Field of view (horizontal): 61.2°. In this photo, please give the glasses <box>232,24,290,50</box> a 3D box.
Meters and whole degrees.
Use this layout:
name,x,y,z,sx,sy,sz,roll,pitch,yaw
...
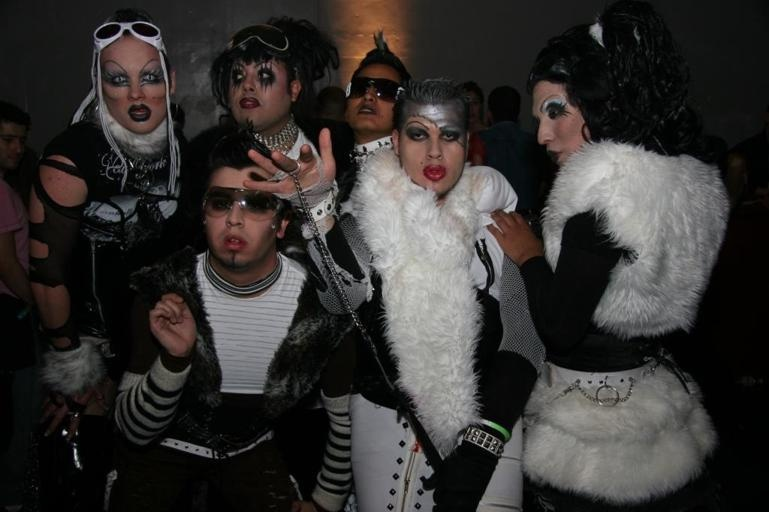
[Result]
name,x,y,z,sx,sy,sz,roll,pitch,yaw
glasses,-0.743,-1.332,3.954,0.314,0.098,0.174,1,-20,-8

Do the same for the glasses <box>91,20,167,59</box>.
name,x,y,z,sx,sy,sz,roll,pitch,yaw
glasses,-1.456,-1.242,3.691,0.378,0.180,0.133,-5,17,-21
